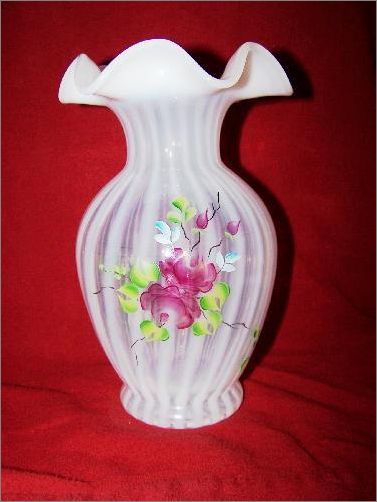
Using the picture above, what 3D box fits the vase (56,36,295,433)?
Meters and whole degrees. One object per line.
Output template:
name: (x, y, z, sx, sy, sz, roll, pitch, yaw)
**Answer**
vase: (0.056, -0.069, 1.151, 0.490, 0.756, 0.559, 5, 11, 35)
